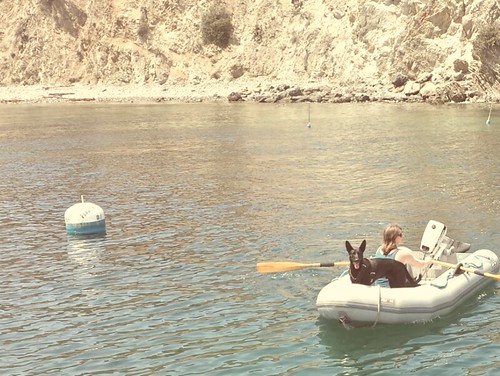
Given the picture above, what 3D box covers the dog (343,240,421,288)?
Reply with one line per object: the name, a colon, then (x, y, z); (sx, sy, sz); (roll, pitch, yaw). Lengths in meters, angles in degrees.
dog: (5.063, 3.131, 29.872); (0.948, 1.696, 3.189); (-28, 23, -20)
